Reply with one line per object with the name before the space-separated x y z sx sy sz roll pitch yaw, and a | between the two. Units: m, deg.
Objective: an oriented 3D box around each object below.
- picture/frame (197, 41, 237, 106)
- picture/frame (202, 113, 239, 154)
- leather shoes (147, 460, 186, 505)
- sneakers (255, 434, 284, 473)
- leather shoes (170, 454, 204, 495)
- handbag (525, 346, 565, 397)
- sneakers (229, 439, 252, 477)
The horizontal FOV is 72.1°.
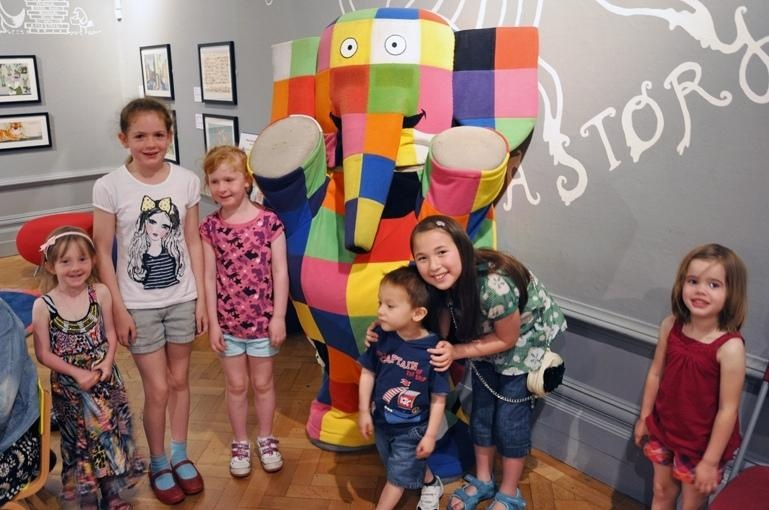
picture/frame | -1.249 -1.374 3.959 0.034 0.393 0.456 -18 31 -41
picture/frame | -1.282 -0.929 4.115 0.439 0.311 0.021 6 6 34
leather shoes | -0.986 1.028 2.389 0.085 0.101 0.252 -8 19 -39
sneakers | -0.573 0.943 2.569 0.114 0.109 0.273 -5 12 -26
leather shoes | -0.931 1.012 2.472 0.121 0.093 0.293 -2 12 -39
handbag | 0.687 0.491 2.319 0.185 0.154 0.239 6 47 16
sneakers | -0.680 0.958 2.484 0.071 0.081 0.200 1 3 -9
